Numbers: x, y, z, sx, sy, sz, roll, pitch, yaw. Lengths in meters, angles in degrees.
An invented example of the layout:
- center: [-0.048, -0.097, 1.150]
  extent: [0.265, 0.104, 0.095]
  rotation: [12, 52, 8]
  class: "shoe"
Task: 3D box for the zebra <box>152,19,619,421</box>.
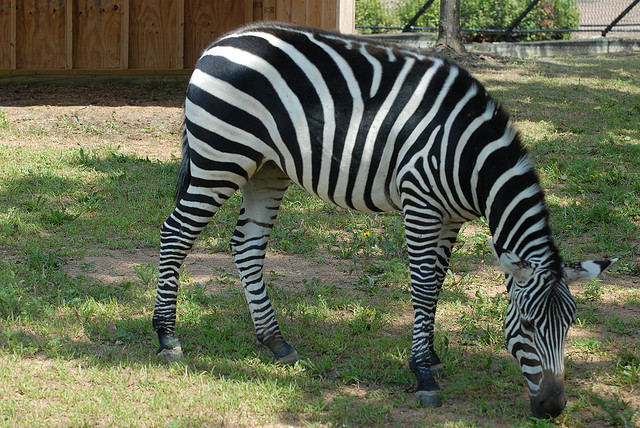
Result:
- center: [0.500, 0.003, 7.158]
  extent: [3.892, 3.545, 1.226]
  rotation: [6, 10, 20]
  class: "zebra"
